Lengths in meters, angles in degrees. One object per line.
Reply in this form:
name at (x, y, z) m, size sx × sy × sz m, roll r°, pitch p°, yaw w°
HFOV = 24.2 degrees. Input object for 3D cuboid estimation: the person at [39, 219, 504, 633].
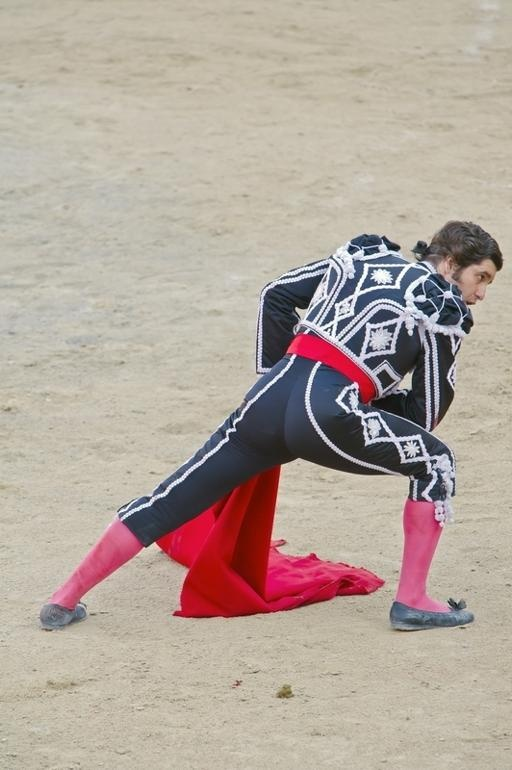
person at (0.034, 0.167, 3.767) m, size 1.688 × 1.222 × 0.621 m, roll 0°, pitch 7°, yaw -19°

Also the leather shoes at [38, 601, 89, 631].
leather shoes at (-0.611, 0.736, 3.870) m, size 0.062 × 0.066 × 0.173 m, roll 15°, pitch 18°, yaw 33°

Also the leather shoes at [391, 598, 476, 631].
leather shoes at (0.561, 0.745, 3.848) m, size 0.319 × 0.099 × 0.097 m, roll -2°, pitch 5°, yaw -22°
